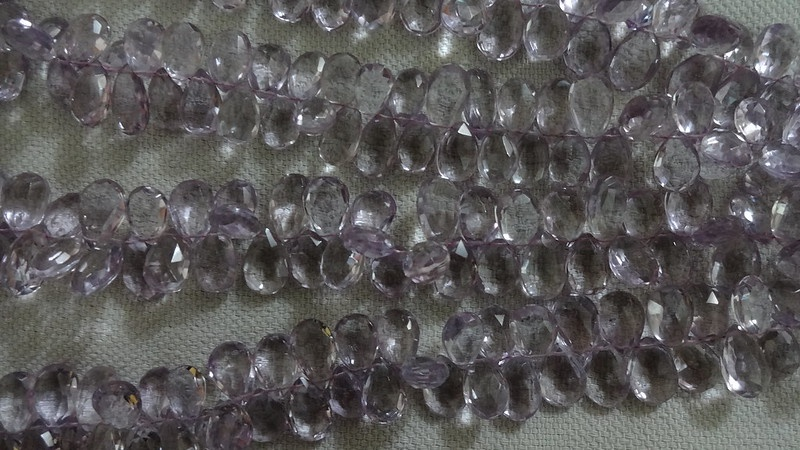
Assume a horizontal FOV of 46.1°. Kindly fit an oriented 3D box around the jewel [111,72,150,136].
[{"bbox_3d":[-0.462,-0.209,1.604,0.061,0.025,0.104,4,85,-2],"label":"jewel"}]

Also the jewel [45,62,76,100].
[{"bbox_3d":[-0.586,-0.248,1.606,0.048,0.020,0.059,1,106,0],"label":"jewel"}]

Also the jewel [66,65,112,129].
[{"bbox_3d":[-0.527,-0.211,1.564,0.061,0.026,0.098,10,93,-3],"label":"jewel"}]

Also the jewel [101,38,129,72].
[{"bbox_3d":[-0.488,-0.285,1.603,0.042,0.011,0.055,19,84,-1],"label":"jewel"}]

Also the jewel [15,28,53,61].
[{"bbox_3d":[-0.618,-0.307,1.592,0.062,0.023,0.046,16,85,0],"label":"jewel"}]

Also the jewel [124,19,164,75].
[{"bbox_3d":[-0.435,-0.302,1.588,0.066,0.022,0.090,3,85,-2],"label":"jewel"}]

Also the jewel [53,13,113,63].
[{"bbox_3d":[-0.541,-0.313,1.598,0.075,0.026,0.097,39,85,2],"label":"jewel"}]
